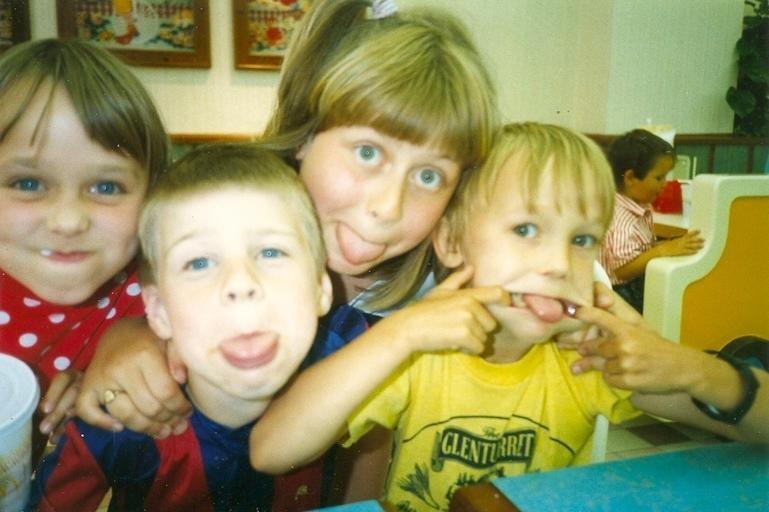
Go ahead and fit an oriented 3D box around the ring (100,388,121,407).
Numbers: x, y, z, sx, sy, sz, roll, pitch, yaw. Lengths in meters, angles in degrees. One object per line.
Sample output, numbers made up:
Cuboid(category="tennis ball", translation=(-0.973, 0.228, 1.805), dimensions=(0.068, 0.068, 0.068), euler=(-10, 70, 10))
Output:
Cuboid(category="ring", translation=(-0.520, 0.267, 1.278), dimensions=(0.034, 0.034, 0.020), euler=(1, 13, -10))
